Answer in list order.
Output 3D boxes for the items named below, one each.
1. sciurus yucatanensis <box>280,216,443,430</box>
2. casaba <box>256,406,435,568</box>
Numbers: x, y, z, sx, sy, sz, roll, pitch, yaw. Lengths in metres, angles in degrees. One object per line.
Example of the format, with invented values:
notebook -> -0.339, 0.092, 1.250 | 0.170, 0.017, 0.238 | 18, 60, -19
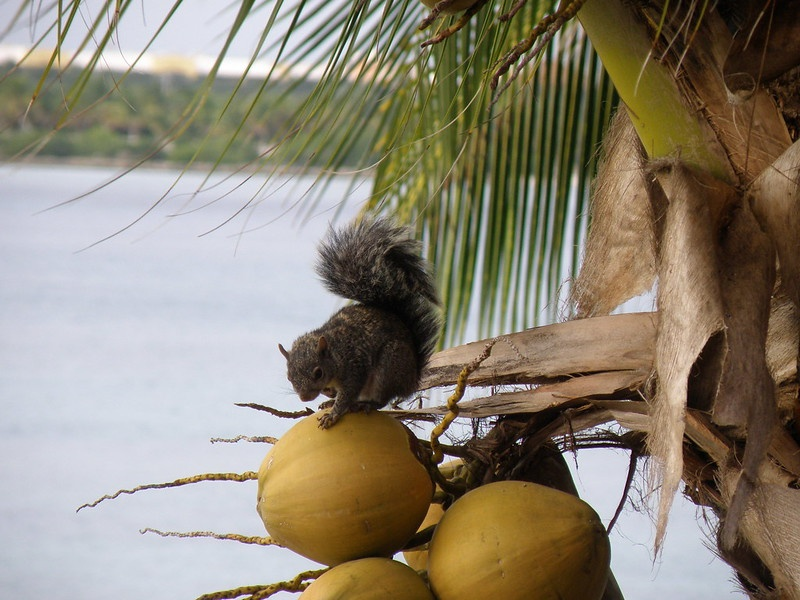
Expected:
sciurus yucatanensis -> -0.079, -0.001, 4.023 | 0.346, 0.461, 0.160 | -10, 20, -30
casaba -> -0.135, 0.290, 3.611 | 0.408, 0.413, 0.337 | -5, 2, -11
